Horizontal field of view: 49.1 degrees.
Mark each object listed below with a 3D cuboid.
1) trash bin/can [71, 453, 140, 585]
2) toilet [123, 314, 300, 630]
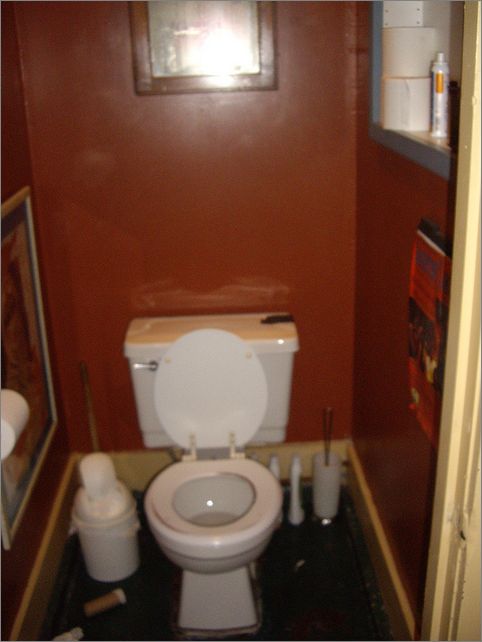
[{"bbox_3d":[-0.478,0.693,1.876,0.162,0.472,0.223,-7,24,-11],"label":"trash bin/can"},{"bbox_3d":[-0.086,0.419,1.792,0.407,0.983,0.812,0,26,0],"label":"toilet"}]
